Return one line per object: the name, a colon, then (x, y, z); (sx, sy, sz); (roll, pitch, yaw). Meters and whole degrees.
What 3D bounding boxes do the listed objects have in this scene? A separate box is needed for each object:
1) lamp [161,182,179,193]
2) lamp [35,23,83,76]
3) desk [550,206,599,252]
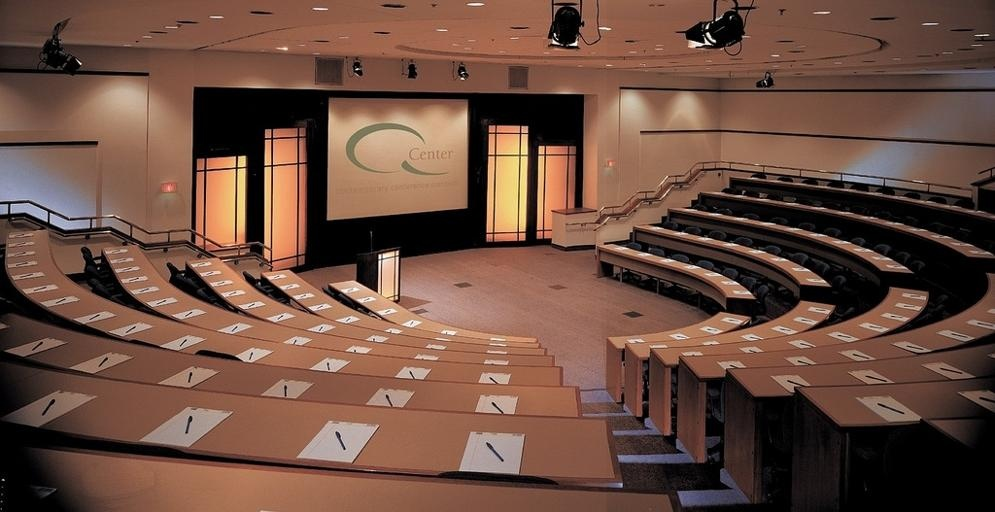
lamp: (-10.084, -2.088, 17.249); (0.398, 0.242, 0.122); (-1, 8, -24)
lamp: (-10.664, -5.000, 13.617); (1.227, 1.461, 0.492); (-11, 58, -41)
desk: (2.959, -1.155, 23.493); (2.891, 1.969, 1.599); (-3, 8, -25)
